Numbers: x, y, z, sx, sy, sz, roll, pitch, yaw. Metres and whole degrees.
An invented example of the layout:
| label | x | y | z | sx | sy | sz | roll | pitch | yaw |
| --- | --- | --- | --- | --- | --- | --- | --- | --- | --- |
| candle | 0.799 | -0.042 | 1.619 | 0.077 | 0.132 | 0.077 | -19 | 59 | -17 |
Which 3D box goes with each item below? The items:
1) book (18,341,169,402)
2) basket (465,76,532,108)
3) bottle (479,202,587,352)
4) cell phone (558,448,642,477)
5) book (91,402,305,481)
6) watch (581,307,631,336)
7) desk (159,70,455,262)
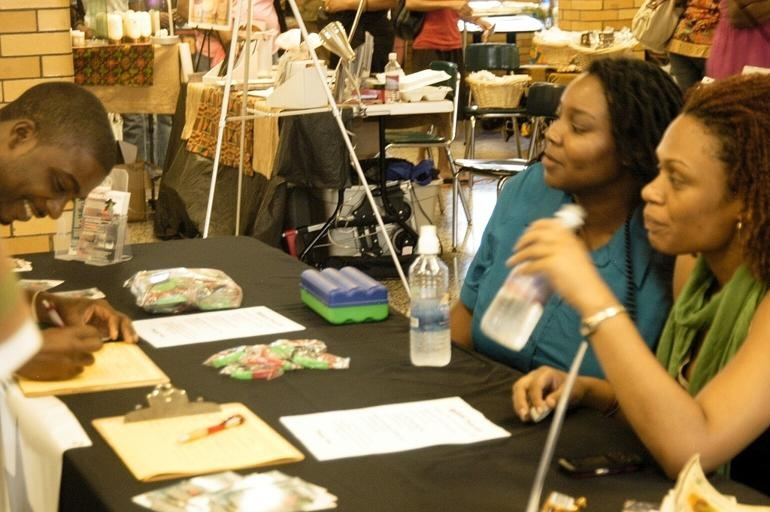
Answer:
| label | x | y | z | sx | sy | sz | roll | pitch | yaw |
| --- | --- | --- | --- | --- | --- | --- | --- | --- | --- |
| book | -0.735 | 0.267 | 1.641 | 0.290 | 0.010 | 0.297 | 2 | 16 | -31 |
| basket | 1.119 | -1.557 | 6.142 | 0.582 | 0.265 | 0.592 | 3 | 11 | 8 |
| bottle | 0.277 | 0.102 | 1.249 | 0.164 | 0.155 | 0.086 | -11 | 21 | -30 |
| cell phone | 0.424 | 0.404 | 1.251 | 0.110 | 0.020 | 0.059 | -6 | -7 | -13 |
| book | -0.391 | 0.375 | 1.321 | 0.385 | 0.029 | 0.278 | -6 | 16 | -20 |
| watch | 0.421 | 0.120 | 1.227 | 0.068 | 0.062 | 0.025 | -25 | 71 | -39 |
| desk | -1.030 | -0.627 | 4.789 | 1.624 | 0.996 | 1.030 | 18 | 26 | 36 |
